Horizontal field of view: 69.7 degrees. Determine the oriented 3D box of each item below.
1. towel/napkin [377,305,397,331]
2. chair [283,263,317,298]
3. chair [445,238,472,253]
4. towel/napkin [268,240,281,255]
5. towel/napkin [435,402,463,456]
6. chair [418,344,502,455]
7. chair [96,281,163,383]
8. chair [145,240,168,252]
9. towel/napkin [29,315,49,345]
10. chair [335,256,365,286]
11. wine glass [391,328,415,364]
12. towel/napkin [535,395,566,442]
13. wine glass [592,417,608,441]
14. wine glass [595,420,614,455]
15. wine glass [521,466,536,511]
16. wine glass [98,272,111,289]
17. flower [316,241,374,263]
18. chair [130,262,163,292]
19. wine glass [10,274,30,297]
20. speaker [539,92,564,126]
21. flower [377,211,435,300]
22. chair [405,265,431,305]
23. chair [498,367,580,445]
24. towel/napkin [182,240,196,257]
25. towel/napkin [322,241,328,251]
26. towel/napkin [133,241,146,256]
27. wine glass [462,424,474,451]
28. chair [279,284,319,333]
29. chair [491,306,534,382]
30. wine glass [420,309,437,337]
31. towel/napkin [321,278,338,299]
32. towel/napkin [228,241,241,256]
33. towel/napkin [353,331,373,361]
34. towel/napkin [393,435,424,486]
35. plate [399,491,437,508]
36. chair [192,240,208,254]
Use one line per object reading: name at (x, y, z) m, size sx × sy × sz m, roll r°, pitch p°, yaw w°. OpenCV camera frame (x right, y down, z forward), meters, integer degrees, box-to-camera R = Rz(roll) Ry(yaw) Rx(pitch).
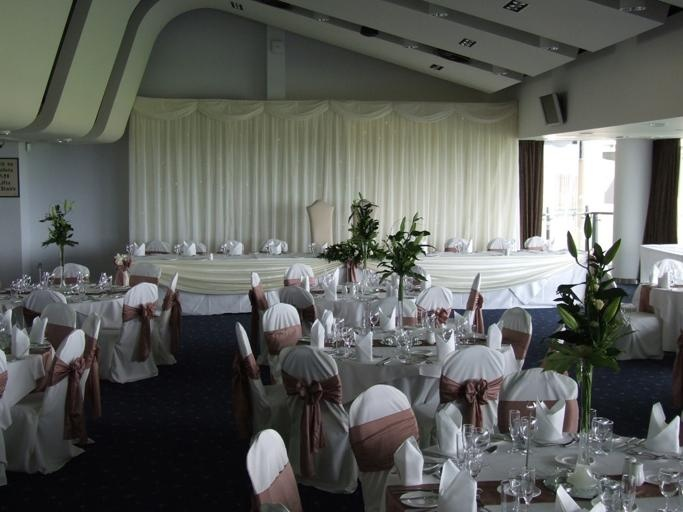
towel/napkin at (0.480, 0.654, 5.137) m, size 0.154 × 0.224 × 0.210 m, roll 0°, pitch -6°, yaw -5°
chair at (-0.584, 0.297, 7.343) m, size 0.320 × 0.194 × 0.486 m, roll 5°, pitch 42°, yaw -15°
chair at (2.560, -0.233, 10.764) m, size 0.324 × 0.403 × 0.490 m, roll -1°, pitch 10°, yaw -12°
towel/napkin at (-1.409, -0.211, 10.317) m, size 0.277 × 0.264 × 0.244 m, roll 0°, pitch 7°, yaw 4°
towel/napkin at (0.549, 0.889, 2.604) m, size 0.163 × 0.341 × 0.244 m, roll 0°, pitch 4°, yaw 9°
chair at (0.974, 1.068, 3.737) m, size 0.625 × 0.934 × 0.621 m, roll -4°, pitch 2°, yaw -44°
chair at (-2.701, 0.875, 6.197) m, size 0.721 × 1.222 × 0.788 m, roll 9°, pitch 5°, yaw 20°
chair at (-3.807, -0.188, 10.257) m, size 0.252 × 0.146 × 0.389 m, roll 2°, pitch -1°, yaw -7°
towel/napkin at (-2.846, 0.701, 4.631) m, size 0.224 × 0.325 × 0.040 m, roll 0°, pitch 5°, yaw 12°
chair at (0.161, 0.273, 9.093) m, size 0.416 × 0.548 × 0.337 m, roll 2°, pitch 6°, yaw 27°
wine glass at (0.499, 0.781, 4.170) m, size 0.195 × 0.360 × 0.212 m, roll -1°, pitch -2°, yaw 0°
towel/napkin at (1.158, 0.910, 2.770) m, size 0.147 × 0.211 × 0.157 m, roll 9°, pitch -13°, yaw -35°
wine glass at (1.367, 0.901, 2.573) m, size 0.068 × 0.128 × 0.113 m, roll 2°, pitch 0°, yaw 43°
wine glass at (1.378, 0.948, 2.575) m, size 0.094 × 0.170 × 0.099 m, roll -2°, pitch -1°, yaw -5°
wine glass at (0.762, 0.941, 2.005) m, size 0.053 × 0.116 × 0.119 m, roll 3°, pitch 7°, yaw 23°
wine glass at (-3.718, 0.374, 7.695) m, size 0.152 × 0.287 × 0.182 m, roll 5°, pitch 4°, yaw 24°
flower at (0.096, -0.063, 6.588) m, size 0.414 × 0.260 × 0.448 m, roll 1°, pitch -2°, yaw -1°
chair at (-3.013, 0.282, 7.603) m, size 0.441 × 0.507 × 0.305 m, roll -1°, pitch -22°, yaw 1°
wine glass at (-4.336, 0.383, 6.611) m, size 0.226 × 0.239 × 0.408 m, roll 1°, pitch 0°, yaw -15°
speaker at (4.161, -2.910, 9.681) m, size 0.369 × 0.576 × 0.583 m, roll 0°, pitch 7°, yaw 1°
flower at (0.623, 0.018, 5.161) m, size 0.524 × 0.845 × 0.533 m, roll 4°, pitch -12°, yaw 7°
chair at (1.058, 0.364, 6.944) m, size 0.365 × 0.563 × 0.539 m, roll 0°, pitch -8°, yaw 4°
chair at (1.200, 0.876, 3.219) m, size 0.496 × 0.636 × 0.453 m, roll -3°, pitch 1°, yaw 6°
towel/napkin at (-2.983, -0.169, 9.831) m, size 0.286 × 0.331 × 0.264 m, roll -4°, pitch -4°, yaw 44°
towel/napkin at (-0.333, -0.250, 10.079) m, size 0.175 × 0.097 × 0.219 m, roll -2°, pitch 17°, yaw -2°
towel/napkin at (-3.922, -0.118, 9.557) m, size 0.287 × 0.328 × 0.298 m, roll 3°, pitch -4°, yaw -29°
wine glass at (0.599, 0.851, 2.329) m, size 0.052 × 0.086 × 0.117 m, roll 2°, pitch 7°, yaw 14°
chair at (-0.528, 0.626, 6.166) m, size 0.475 × 0.761 × 0.510 m, roll -1°, pitch 2°, yaw -10°
chair at (1.611, 0.815, 4.799) m, size 0.395 × 0.612 × 0.378 m, roll -12°, pitch 15°, yaw -43°
wine glass at (0.896, 0.666, 4.868) m, size 0.143 × 0.271 × 0.230 m, roll 0°, pitch 1°, yaw -4°
towel/napkin at (-0.149, 0.405, 6.406) m, size 0.194 × 0.351 × 0.249 m, roll -5°, pitch 3°, yaw -26°
towel/napkin at (-2.152, -0.166, 10.036) m, size 0.243 × 0.304 × 0.282 m, roll 0°, pitch 0°, yaw -5°
towel/napkin at (0.195, 0.739, 4.127) m, size 0.175 × 0.267 × 0.203 m, roll -3°, pitch -2°, yaw 41°
towel/napkin at (0.307, 0.971, 2.319) m, size 0.108 × 0.206 × 0.115 m, roll 17°, pitch -23°, yaw -36°
plate at (0.340, 1.068, 2.167) m, size 0.159 × 0.022 × 0.139 m, roll 2°, pitch 7°, yaw 14°
chair at (-2.971, -0.182, 10.358) m, size 0.325 × 0.288 × 0.355 m, roll 0°, pitch -3°, yaw -2°
